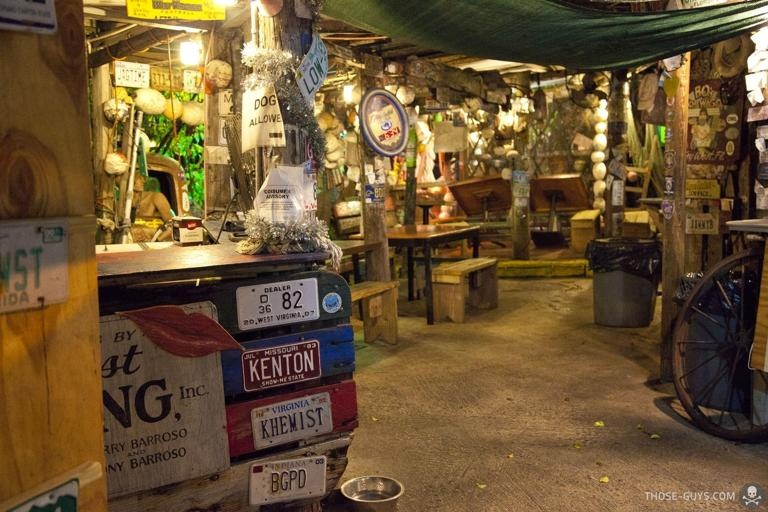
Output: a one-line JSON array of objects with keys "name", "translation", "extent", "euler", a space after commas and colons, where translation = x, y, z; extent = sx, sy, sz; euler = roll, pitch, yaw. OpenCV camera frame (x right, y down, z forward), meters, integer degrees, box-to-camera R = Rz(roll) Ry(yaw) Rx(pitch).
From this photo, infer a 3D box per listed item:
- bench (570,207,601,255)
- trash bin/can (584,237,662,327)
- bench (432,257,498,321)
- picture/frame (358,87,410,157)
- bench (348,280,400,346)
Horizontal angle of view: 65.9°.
[{"name": "bench", "translation": [4.339, -0.536, 12.725], "extent": [0.579, 0.979, 1.026], "euler": [3, 8, 35]}, {"name": "trash bin/can", "translation": [3.230, 0.315, 7.934], "extent": [1.029, 1.183, 1.124], "euler": [-3, 1, -20]}, {"name": "bench", "translation": [1.259, 0.500, 8.982], "extent": [0.530, 0.748, 1.681], "euler": [1, 5, 26]}, {"name": "picture/frame", "translation": [-0.014, -1.819, 8.003], "extent": [0.098, 0.960, 0.967], "euler": [11, 54, 39]}, {"name": "bench", "translation": [-0.136, 0.719, 7.251], "extent": [0.452, 0.770, 0.749], "euler": [8, 14, 42]}]
